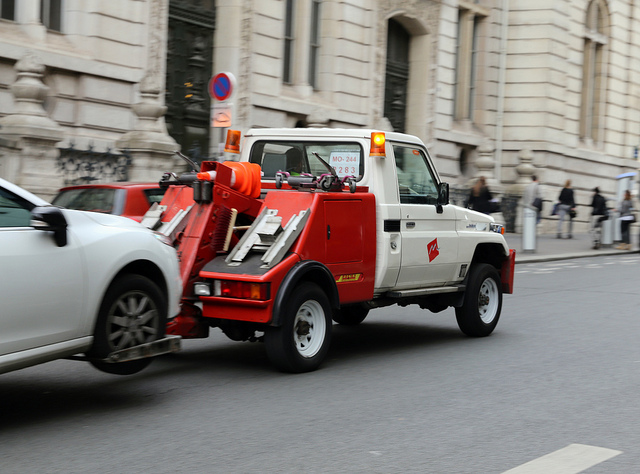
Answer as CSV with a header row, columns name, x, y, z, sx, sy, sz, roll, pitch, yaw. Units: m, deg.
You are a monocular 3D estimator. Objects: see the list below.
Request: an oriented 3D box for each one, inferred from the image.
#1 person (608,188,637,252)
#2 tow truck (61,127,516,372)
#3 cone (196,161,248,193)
name,x,y,z,sx,sy,sz,roll,pitch,yaw
person,12.670,-0.709,24.627,0.720,2.521,1.180,6,4,24
tow truck,0.204,0.023,7.758,2.582,1.824,4.845,9,8,43
cone,-1.029,-0.626,6.158,0.245,0.312,0.483,6,5,39
